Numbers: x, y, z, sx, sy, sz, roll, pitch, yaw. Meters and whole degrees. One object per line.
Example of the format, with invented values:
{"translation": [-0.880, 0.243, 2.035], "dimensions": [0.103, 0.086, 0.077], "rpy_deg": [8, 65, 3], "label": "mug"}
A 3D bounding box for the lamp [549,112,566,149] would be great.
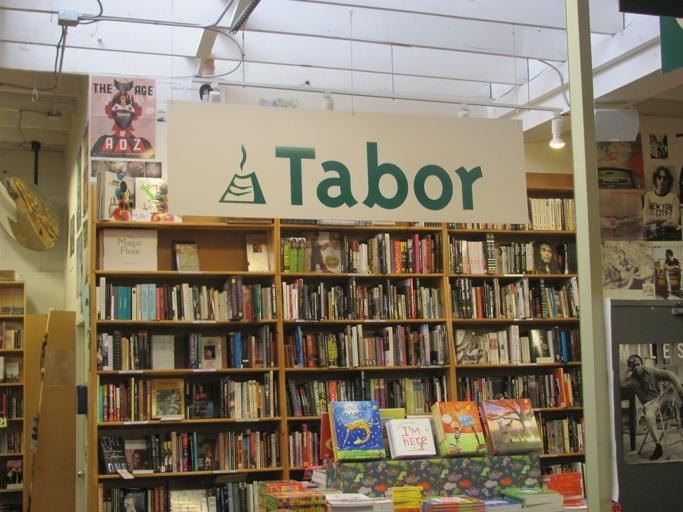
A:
{"translation": [2.238, -1.305, 8.787], "dimensions": [0.154, 0.327, 0.156], "rpy_deg": [-4, 8, 20], "label": "lamp"}

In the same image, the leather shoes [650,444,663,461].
{"translation": [2.101, 1.321, 5.629], "dimensions": [0.137, 0.102, 0.050], "rpy_deg": [0, -5, -37], "label": "leather shoes"}
